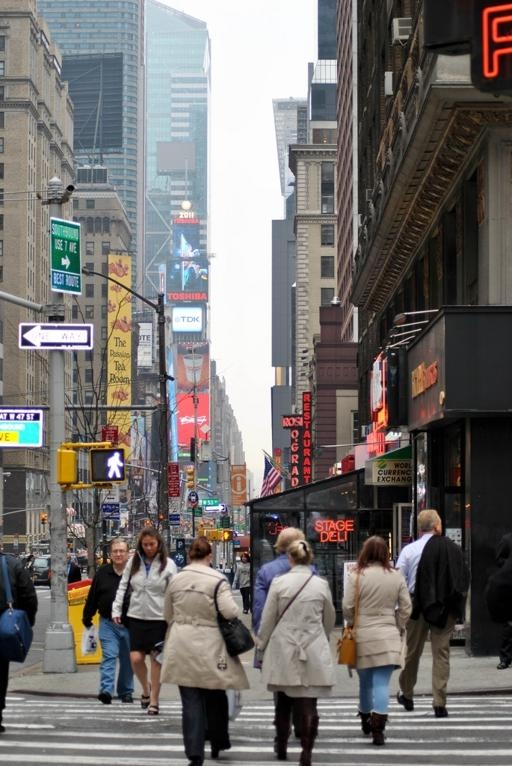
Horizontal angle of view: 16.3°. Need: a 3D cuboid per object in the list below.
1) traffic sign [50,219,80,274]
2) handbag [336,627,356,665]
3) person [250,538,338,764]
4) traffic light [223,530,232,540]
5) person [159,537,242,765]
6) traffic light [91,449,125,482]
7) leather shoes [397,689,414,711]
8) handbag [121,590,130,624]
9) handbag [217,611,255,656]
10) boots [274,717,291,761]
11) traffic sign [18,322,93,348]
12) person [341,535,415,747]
[{"bbox_3d":[-2.628,-1.861,24.336,0.055,0.805,0.649,-3,-7,17],"label":"traffic sign"},{"bbox_3d":[0.797,2.377,16.080,0.157,0.380,0.343,-1,-6,1],"label":"handbag"},{"bbox_3d":[0.311,2.210,14.862,0.641,1.852,0.823,-1,-5,1],"label":"person"},{"bbox_3d":[-1.661,8.140,95.633,0.380,0.782,0.361,0,-14,0],"label":"traffic light"},{"bbox_3d":[-0.469,2.243,15.132,0.740,1.909,0.787,3,-6,-36],"label":"person"},{"bbox_3d":[-2.099,1.144,24.858,0.286,0.476,0.041,-2,-5,-2],"label":"traffic light"},{"bbox_3d":[1.486,3.169,18.130,0.088,0.302,0.121,9,-42,-31],"label":"leather shoes"},{"bbox_3d":[-1.334,2.244,17.926,0.077,0.308,0.179,7,-13,-16],"label":"handbag"},{"bbox_3d":[-0.164,2.125,15.156,0.279,0.396,0.348,-6,-8,39],"label":"handbag"},{"bbox_3d":[0.185,3.010,15.167,0.086,0.265,0.315,1,-1,0],"label":"boots"},{"bbox_3d":[-2.691,-0.633,23.836,0.953,0.379,0.466,0,-7,-14],"label":"traffic sign"},{"bbox_3d":[1.037,2.311,16.132,0.662,1.842,0.790,-5,-6,36],"label":"person"}]
